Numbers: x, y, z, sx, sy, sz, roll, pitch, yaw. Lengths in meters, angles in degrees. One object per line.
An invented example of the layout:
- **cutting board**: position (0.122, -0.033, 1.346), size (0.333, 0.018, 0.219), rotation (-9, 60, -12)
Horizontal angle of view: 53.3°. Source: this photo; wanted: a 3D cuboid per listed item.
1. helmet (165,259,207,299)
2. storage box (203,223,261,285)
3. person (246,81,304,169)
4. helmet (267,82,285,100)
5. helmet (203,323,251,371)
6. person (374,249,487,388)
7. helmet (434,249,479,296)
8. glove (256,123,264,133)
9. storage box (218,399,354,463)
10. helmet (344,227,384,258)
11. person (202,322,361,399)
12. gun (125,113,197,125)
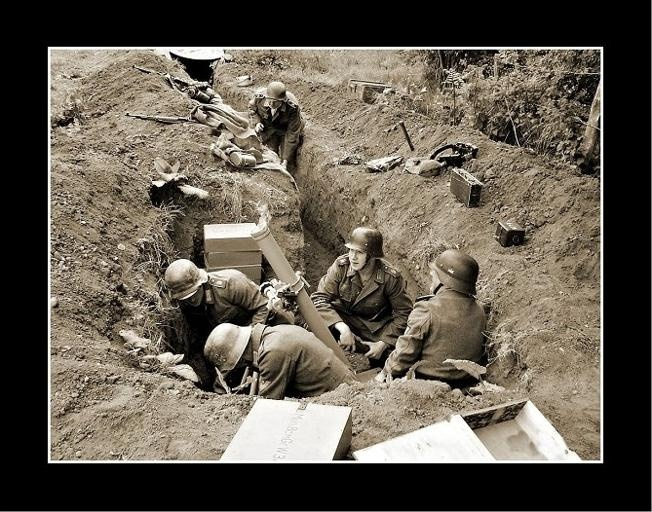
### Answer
- **helmet**: position (-1.428, 0.260, 6.665), size (0.422, 0.396, 0.243), rotation (-2, 18, -11)
- **storage box**: position (-1.164, -0.079, 7.972), size (0.669, 0.643, 0.674), rotation (-6, 31, -16)
- **person**: position (-0.737, -2.031, 10.284), size (0.674, 1.412, 0.893), rotation (15, 22, 36)
- **helmet**: position (-0.752, -2.475, 9.752), size (0.299, 0.239, 0.260), rotation (0, 18, -6)
- **helmet**: position (-0.890, 0.829, 5.903), size (0.234, 0.338, 0.451), rotation (20, -26, -14)
- **person**: position (1.062, 0.640, 6.210), size (0.898, 1.206, 0.728), rotation (-14, 23, -39)
- **helmet**: position (1.246, 0.118, 6.318), size (0.443, 0.244, 0.349), rotation (32, 42, 26)
- **glove**: position (-1.053, -2.005, 10.250), size (0.138, 0.168, 0.116), rotation (-10, 49, -25)
- **storage box**: position (-0.283, 1.330, 4.906), size (0.878, 0.269, 0.539), rotation (5, 18, 9)
- **helmet**: position (0.432, -0.137, 7.048), size (0.365, 0.221, 0.289), rotation (12, 11, -26)
- **person**: position (-0.478, 1.037, 6.066), size (1.337, 0.698, 0.620), rotation (8, 12, -1)
- **gun**: position (-2.237, -1.839, 8.723), size (0.740, 0.145, 0.133), rotation (4, 6, -3)
